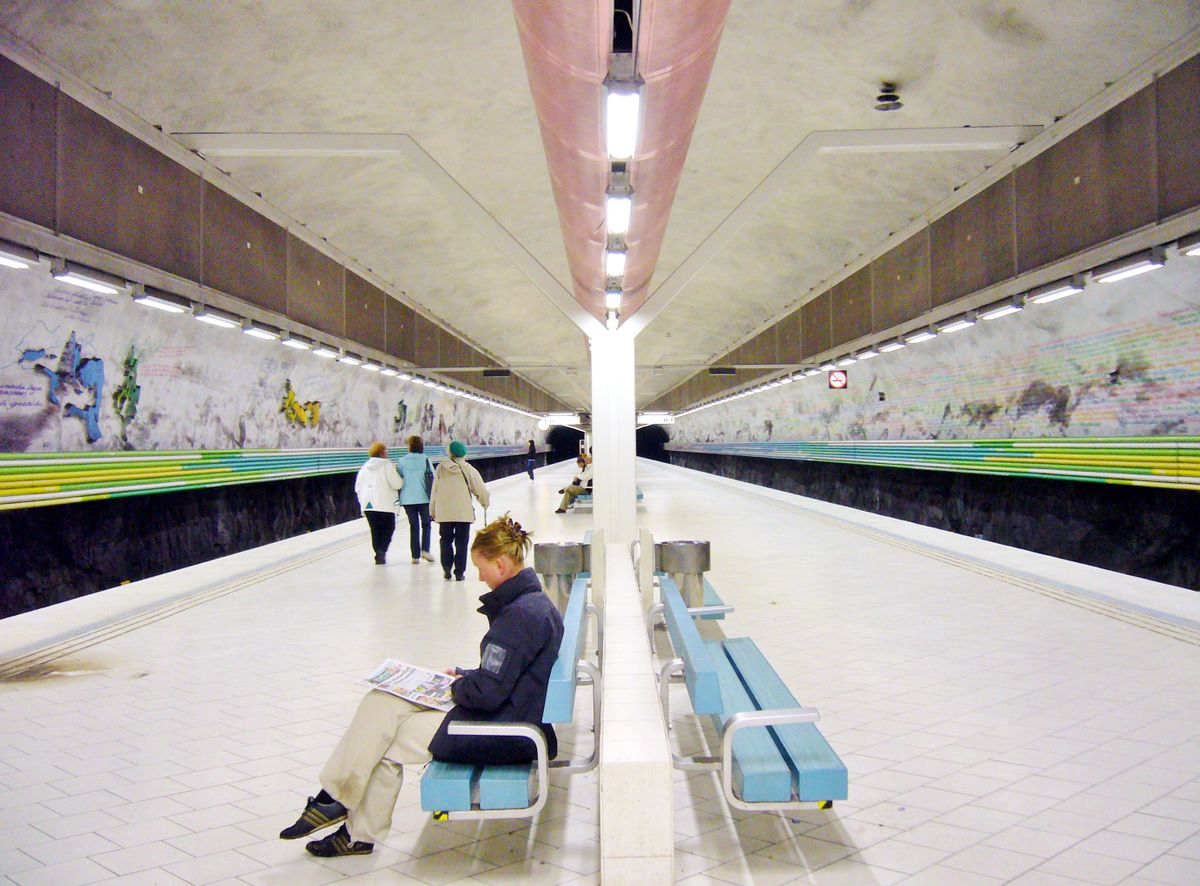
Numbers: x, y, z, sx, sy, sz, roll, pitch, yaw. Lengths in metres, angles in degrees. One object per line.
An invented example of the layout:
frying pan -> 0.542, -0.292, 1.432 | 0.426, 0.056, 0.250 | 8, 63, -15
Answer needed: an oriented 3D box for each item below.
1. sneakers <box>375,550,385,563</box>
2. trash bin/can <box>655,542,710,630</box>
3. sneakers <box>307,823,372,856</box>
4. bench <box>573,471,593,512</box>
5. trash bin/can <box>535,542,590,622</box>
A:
sneakers -> -3.029, 1.604, 10.088 | 0.143, 0.145, 0.136 | 1, -11, -10
trash bin/can -> 0.725, 1.208, 6.337 | 0.571, 0.706, 0.619 | 1, -1, 3
sneakers -> -1.187, 1.846, 3.397 | 0.375, 0.147, 0.126 | 2, -8, -2
bench -> -0.473, 1.147, 17.901 | 0.437, 0.814, 1.612 | -2, 3, -5
trash bin/can -> -0.369, 1.250, 6.782 | 0.625, 0.657, 0.560 | 0, -6, -4
